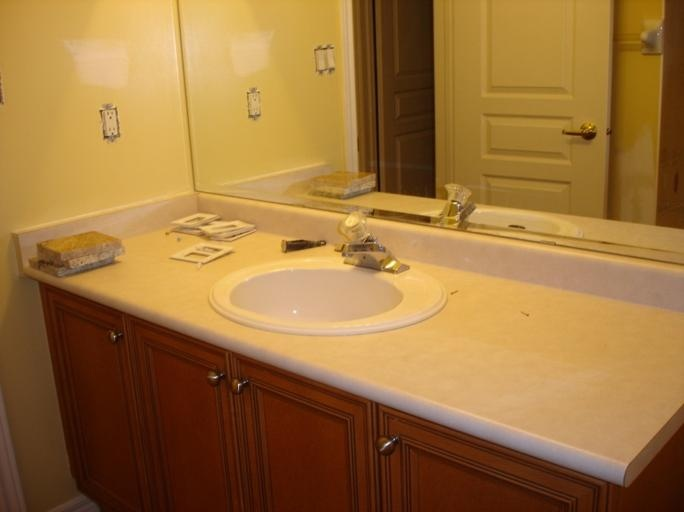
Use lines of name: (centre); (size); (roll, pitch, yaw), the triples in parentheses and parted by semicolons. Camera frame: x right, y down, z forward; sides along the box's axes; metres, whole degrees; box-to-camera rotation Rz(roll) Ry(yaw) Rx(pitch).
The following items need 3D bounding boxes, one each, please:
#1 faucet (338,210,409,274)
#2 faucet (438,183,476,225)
faucet: (0.097, -0.035, 1.514); (0.187, 0.163, 0.162); (21, 31, 33)
faucet: (0.335, -0.159, 1.552); (0.095, 0.114, 0.103); (-3, 16, -30)
